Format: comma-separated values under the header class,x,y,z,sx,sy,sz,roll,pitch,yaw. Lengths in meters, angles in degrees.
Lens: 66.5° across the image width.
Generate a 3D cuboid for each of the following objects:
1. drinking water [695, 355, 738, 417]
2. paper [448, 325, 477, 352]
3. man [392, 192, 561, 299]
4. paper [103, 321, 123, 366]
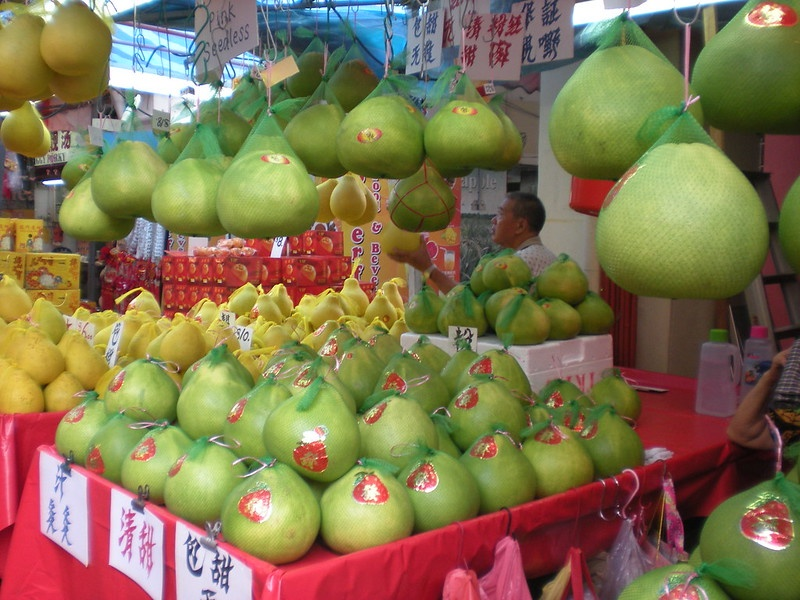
class,x,y,z,sx,sy,sz,roll,pitch,yaw
drinking water,1.240,0.319,2.390,0.143,0.253,0.138,-1,-1,31
paper,0.245,0.154,2.389,0.087,0.101,0.097,2,53,-6
man,0.410,-0.199,3.648,0.895,0.786,0.429,0,-7,4
paper,-1.231,0.196,2.629,0.019,0.267,0.128,9,1,-34
